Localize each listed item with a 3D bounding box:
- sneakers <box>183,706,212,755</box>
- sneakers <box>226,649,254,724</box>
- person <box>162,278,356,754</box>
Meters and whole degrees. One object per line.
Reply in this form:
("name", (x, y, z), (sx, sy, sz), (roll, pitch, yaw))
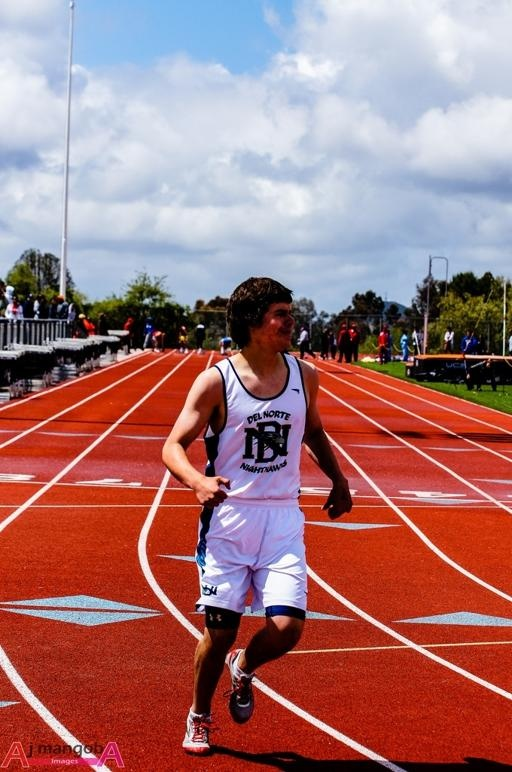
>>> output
("sneakers", (-0.191, 1.129, 2.464), (0.070, 0.073, 0.180), (9, -11, -5))
("sneakers", (-0.055, 1.020, 2.505), (0.096, 0.255, 0.115), (-5, 2, -13))
("person", (-0.026, 0.432, 2.465), (0.472, 1.576, 0.726), (2, -3, 18))
